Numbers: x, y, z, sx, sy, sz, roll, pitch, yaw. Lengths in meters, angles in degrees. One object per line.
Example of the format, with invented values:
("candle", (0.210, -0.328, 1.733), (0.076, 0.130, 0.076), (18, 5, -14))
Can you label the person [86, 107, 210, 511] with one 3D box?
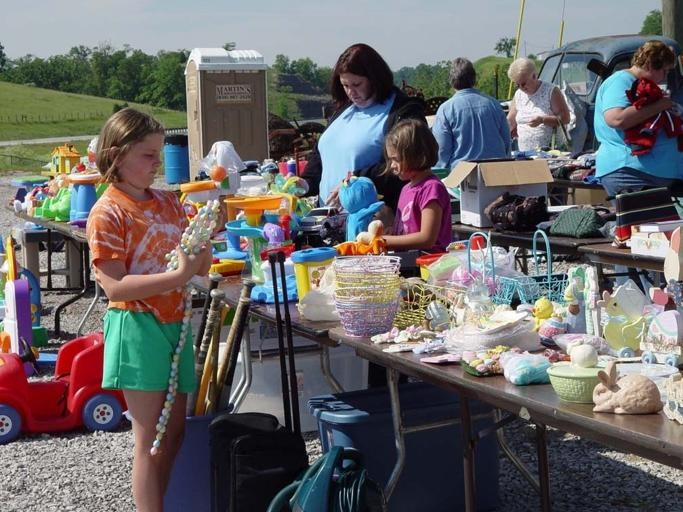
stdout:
("person", (-0.762, 0.257, 2.795), (0.464, 1.698, 0.365), (-3, 7, -21))

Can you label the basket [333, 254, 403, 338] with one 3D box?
("basket", (0.095, 0.141, 2.694), (0.272, 0.337, 0.289), (0, 1, 41))

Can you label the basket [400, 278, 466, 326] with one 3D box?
("basket", (0.345, 0.181, 2.837), (0.232, 0.129, 0.321), (-3, 11, 41))

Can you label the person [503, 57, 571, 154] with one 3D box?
("person", (2.094, -1.400, 7.511), (0.634, 1.386, 0.697), (-11, 13, -43))

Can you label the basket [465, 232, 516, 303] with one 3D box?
("basket", (0.632, 0.024, 2.958), (0.202, 0.283, 0.686), (1, 8, 13))

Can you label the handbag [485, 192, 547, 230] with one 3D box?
("handbag", (1.162, -0.311, 4.614), (0.226, 0.160, 0.314), (-6, 10, 14))

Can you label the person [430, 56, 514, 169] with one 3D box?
("person", (1.125, -1.262, 6.036), (0.645, 0.993, 0.734), (2, 8, 20))

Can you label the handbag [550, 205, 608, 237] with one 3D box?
("handbag", (1.541, -0.247, 4.429), (0.189, 0.096, 0.267), (-3, 9, 42))
